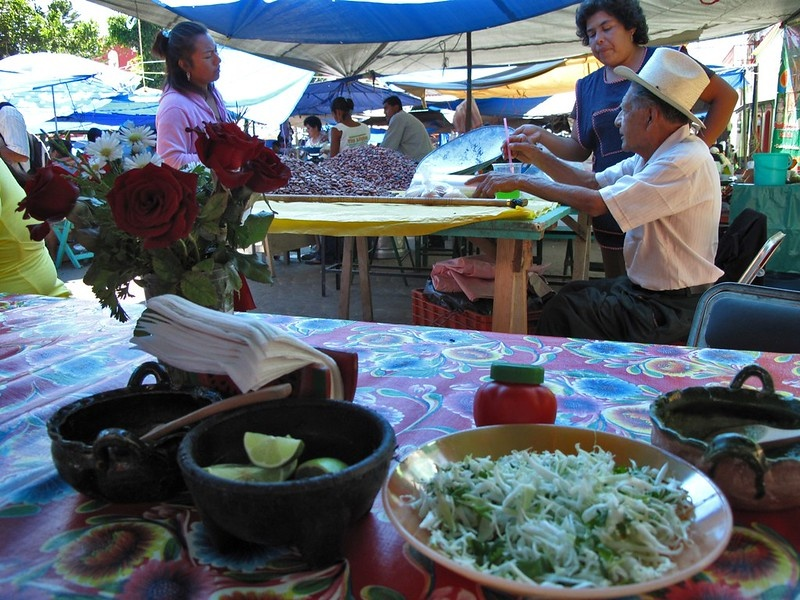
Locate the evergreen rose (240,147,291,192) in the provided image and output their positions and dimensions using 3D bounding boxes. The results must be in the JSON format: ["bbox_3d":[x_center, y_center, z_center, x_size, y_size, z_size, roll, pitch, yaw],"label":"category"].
[{"bbox_3d":[-0.222,-0.214,0.921,0.086,0.073,0.042,4,-18,-29],"label":"evergreen rose"}]

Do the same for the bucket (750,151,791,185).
[{"bbox_3d":[3.676,-1.273,5.511,0.434,0.279,0.394,0,5,16],"label":"bucket"}]

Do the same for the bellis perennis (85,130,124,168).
[{"bbox_3d":[-0.485,-0.247,0.907,0.060,0.022,0.063,12,15,39],"label":"bellis perennis"}]

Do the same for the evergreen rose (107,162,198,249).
[{"bbox_3d":[-0.362,-0.137,0.811,0.118,0.119,0.055,-6,16,-22],"label":"evergreen rose"}]

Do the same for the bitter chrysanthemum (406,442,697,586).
[{"bbox_3d":[0.189,0.241,0.643,0.332,0.072,0.223,-3,13,-15],"label":"bitter chrysanthemum"}]
